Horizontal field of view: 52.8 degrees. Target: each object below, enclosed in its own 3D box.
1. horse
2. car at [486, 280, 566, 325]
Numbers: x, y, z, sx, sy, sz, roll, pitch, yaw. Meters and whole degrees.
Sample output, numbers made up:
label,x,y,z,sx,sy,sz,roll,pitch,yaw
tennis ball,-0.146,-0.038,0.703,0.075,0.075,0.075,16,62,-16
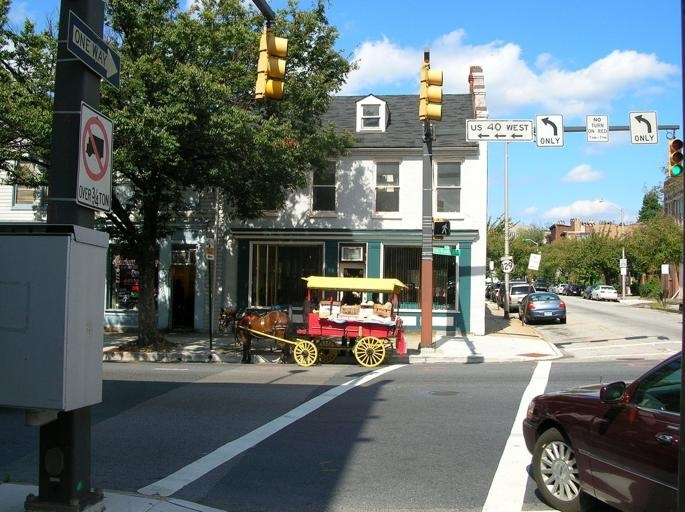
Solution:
label,x,y,z,sx,sy,sz,roll,pitch,yaw
horse,-2.856,2.186,20.753,3.056,2.377,0.998,0,-5,18
car,9.335,2.365,32.844,3.281,1.822,4.010,-1,-1,13
